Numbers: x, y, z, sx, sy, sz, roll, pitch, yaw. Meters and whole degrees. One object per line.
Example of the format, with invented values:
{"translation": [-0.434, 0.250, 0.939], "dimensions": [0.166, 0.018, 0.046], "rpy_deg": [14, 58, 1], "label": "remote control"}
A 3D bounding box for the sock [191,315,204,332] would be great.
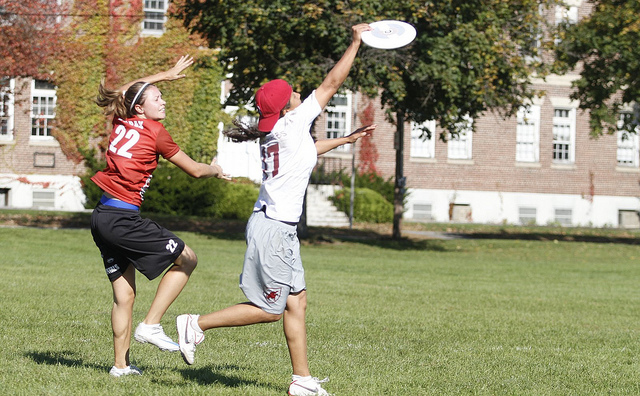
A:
{"translation": [-3.195, 3.148, 30.438], "dimensions": [0.286, 0.365, 0.022], "rpy_deg": [3, -1, -5], "label": "sock"}

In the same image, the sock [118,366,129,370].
{"translation": [-5.115, 4.304, 30.666], "dimensions": [0.191, 0.071, 0.017], "rpy_deg": [3, -1, -9], "label": "sock"}
